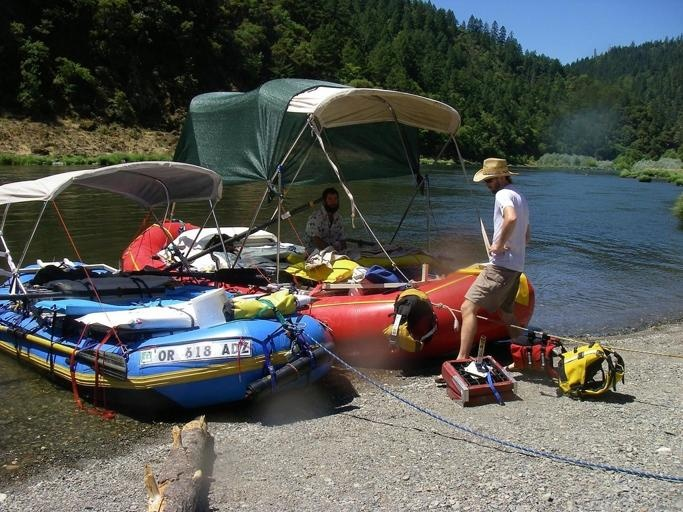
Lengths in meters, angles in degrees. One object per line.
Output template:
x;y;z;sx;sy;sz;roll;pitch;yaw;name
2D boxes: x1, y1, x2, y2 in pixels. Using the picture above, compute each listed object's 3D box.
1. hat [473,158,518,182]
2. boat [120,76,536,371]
1.772;-0.956;6.348;0.487;0.145;0.341;-11;14;-4;hat
-0.154;-0.771;8.898;7.158;2.768;4.492;7;11;35;boat
